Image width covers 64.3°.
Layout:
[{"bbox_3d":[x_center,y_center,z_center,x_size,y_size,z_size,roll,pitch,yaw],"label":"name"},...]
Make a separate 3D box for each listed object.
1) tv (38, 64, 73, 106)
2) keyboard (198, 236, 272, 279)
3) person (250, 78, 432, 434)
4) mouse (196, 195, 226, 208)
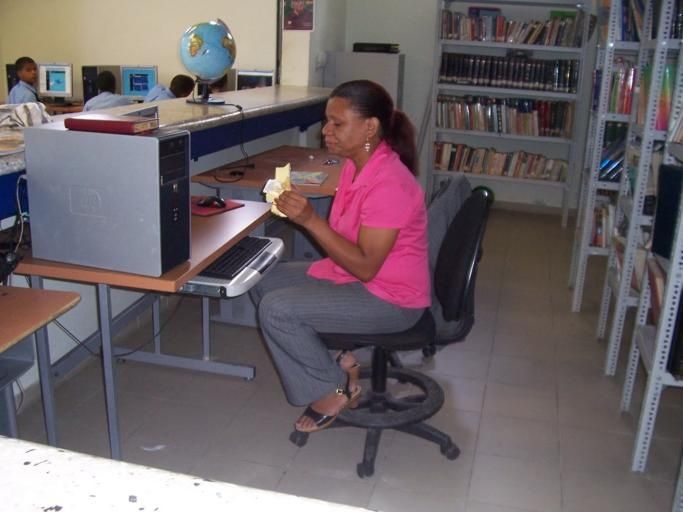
[{"bbox_3d":[-2.946,-1.813,5.627,0.396,0.320,0.106,6,20,15],"label":"tv"},{"bbox_3d":[-0.386,-0.005,2.062,0.127,0.030,0.425,6,22,14],"label":"keyboard"},{"bbox_3d":[-0.049,0.035,2.339,0.722,1.420,0.621,-3,11,-19],"label":"person"},{"bbox_3d":[-0.561,-0.236,2.346,0.083,0.029,0.062,-1,25,-7],"label":"mouse"}]
